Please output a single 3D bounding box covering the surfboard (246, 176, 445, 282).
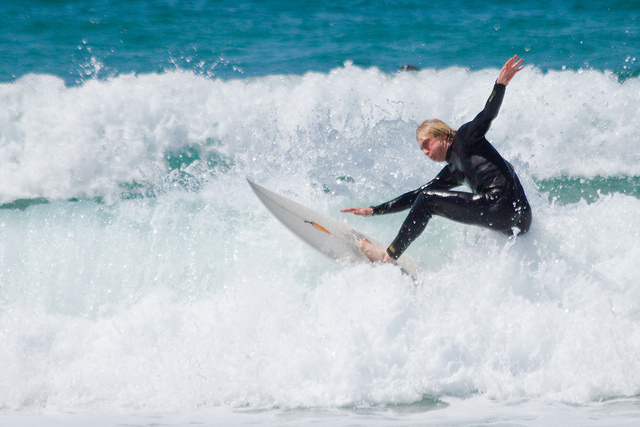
[{"bbox_3d":[0.383,0.377,16.814,3.258,0.334,0.460,27,57,6],"label":"surfboard"}]
